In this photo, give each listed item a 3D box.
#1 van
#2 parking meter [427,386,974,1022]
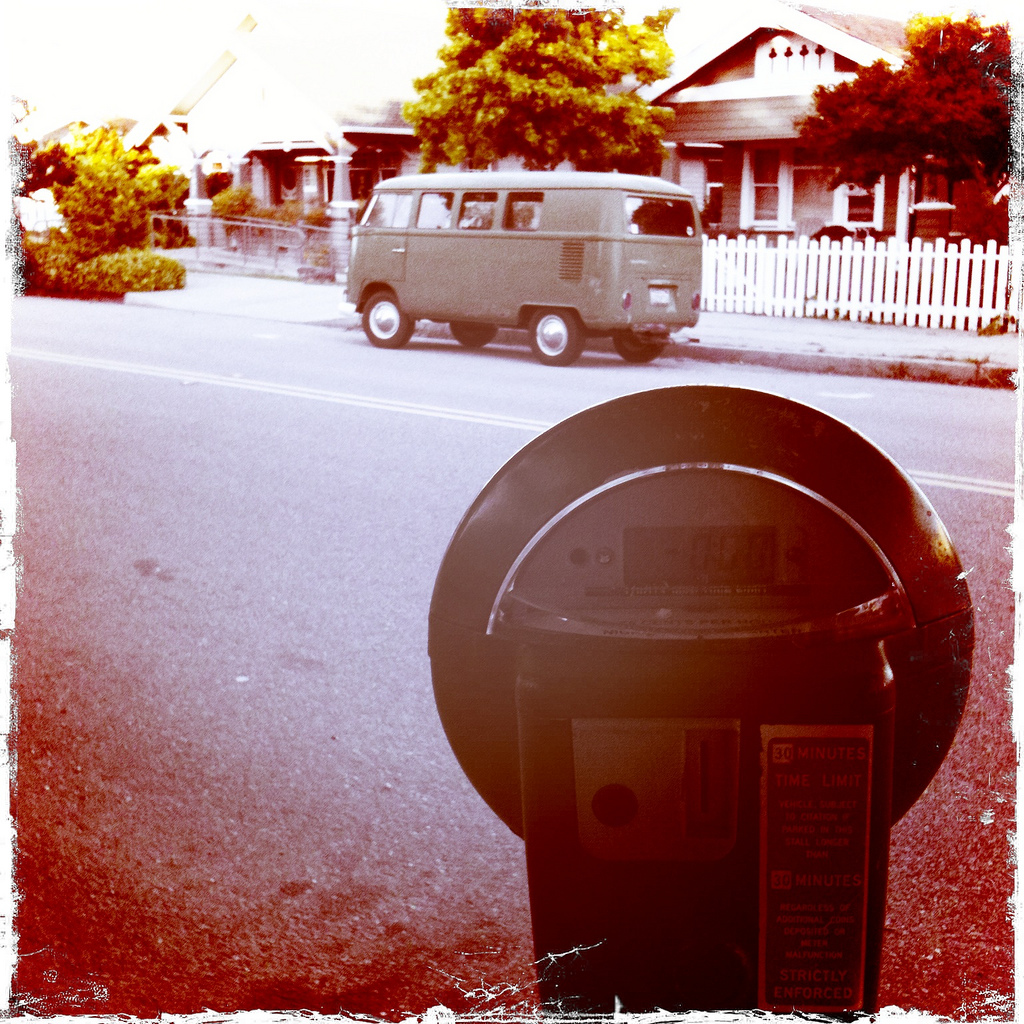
[{"bbox_3d":[0.111,-3.667,13.942,4.649,2.499,2.582,9,23,26],"label":"van"},{"bbox_3d":[0.274,0.273,1.356,0.762,0.881,0.339,-2,10,-8],"label":"parking meter"}]
